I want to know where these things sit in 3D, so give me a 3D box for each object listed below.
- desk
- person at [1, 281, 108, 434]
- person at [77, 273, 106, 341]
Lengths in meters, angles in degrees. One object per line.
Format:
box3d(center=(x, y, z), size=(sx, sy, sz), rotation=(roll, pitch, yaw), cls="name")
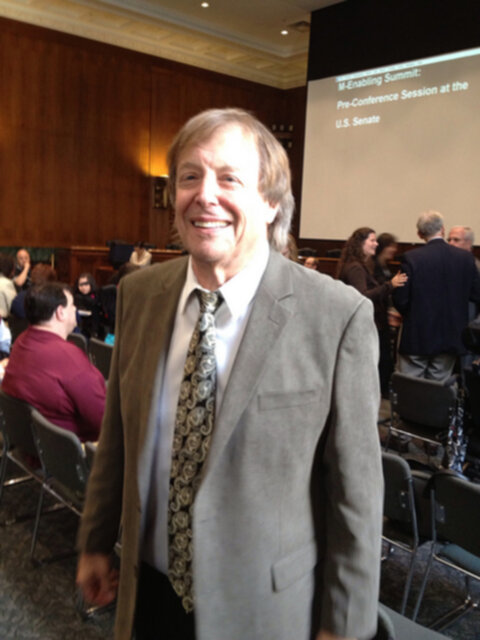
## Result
box3d(center=(-0.137, -0.337, 3.276), size=(1.321, 0.382, 0.419), rotation=(-2, 8, -18), cls="desk")
box3d(center=(-1.182, 0.234, 2.810), size=(0.716, 0.948, 0.420), rotation=(21, 27, 38), cls="person")
box3d(center=(-2.038, -0.048, 6.116), size=(0.356, 1.167, 0.386), rotation=(-8, 50, -13), cls="person")
